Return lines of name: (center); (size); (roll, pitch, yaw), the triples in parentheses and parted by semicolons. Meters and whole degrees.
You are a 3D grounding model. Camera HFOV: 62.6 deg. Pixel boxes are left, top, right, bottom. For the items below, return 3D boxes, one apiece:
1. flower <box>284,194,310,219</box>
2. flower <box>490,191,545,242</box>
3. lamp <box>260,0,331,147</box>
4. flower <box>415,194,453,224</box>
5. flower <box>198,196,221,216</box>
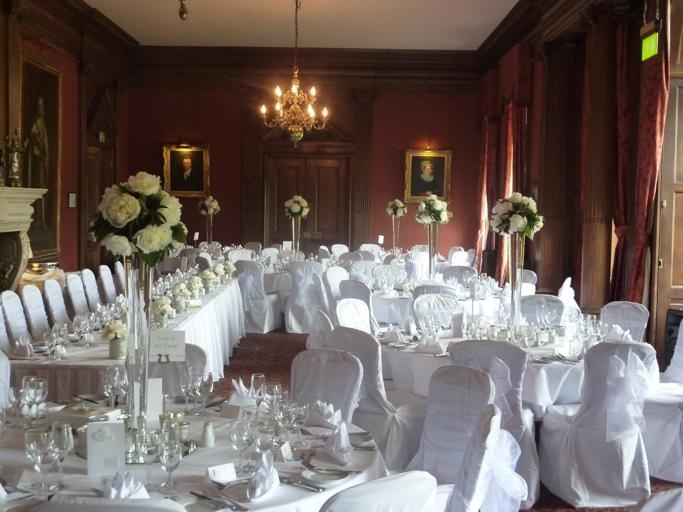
flower: (-0.791, -0.905, 10.479); (0.506, 0.686, 0.579); (-2, 6, -11)
flower: (1.586, -0.366, 5.143); (0.394, 0.383, 0.370); (-1, 0, -17)
lamp: (-0.915, -3.218, 10.698); (1.376, 2.604, 3.969); (-1, -1, -3)
flower: (1.292, -0.668, 8.045); (0.416, 0.421, 0.417); (-2, -1, 17)
flower: (-2.659, -0.998, 11.212); (0.340, 0.408, 0.430); (-1, -1, -19)
